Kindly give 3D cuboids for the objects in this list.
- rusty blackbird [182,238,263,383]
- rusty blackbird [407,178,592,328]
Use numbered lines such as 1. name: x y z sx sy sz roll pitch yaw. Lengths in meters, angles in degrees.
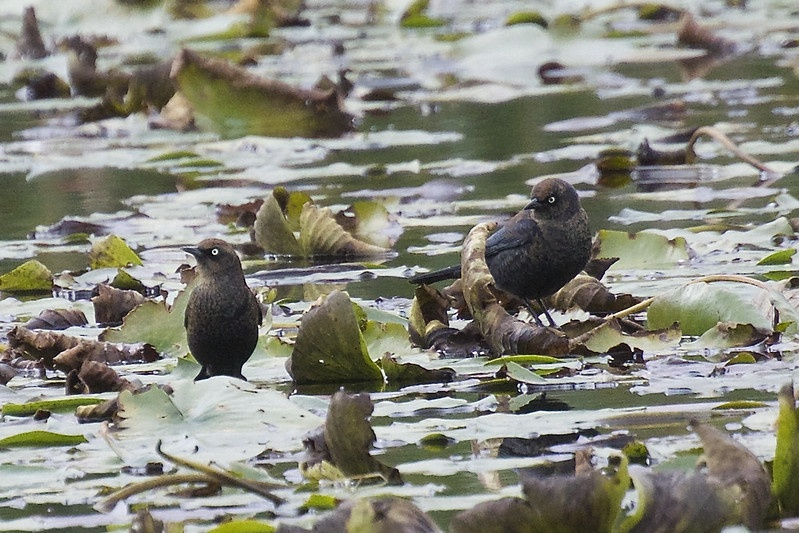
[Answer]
1. rusty blackbird: -0.826 0.199 5.199 0.333 0.629 0.255 -3 15 -9
2. rusty blackbird: 0.726 -0.140 6.004 0.497 0.635 0.427 -3 14 -11
